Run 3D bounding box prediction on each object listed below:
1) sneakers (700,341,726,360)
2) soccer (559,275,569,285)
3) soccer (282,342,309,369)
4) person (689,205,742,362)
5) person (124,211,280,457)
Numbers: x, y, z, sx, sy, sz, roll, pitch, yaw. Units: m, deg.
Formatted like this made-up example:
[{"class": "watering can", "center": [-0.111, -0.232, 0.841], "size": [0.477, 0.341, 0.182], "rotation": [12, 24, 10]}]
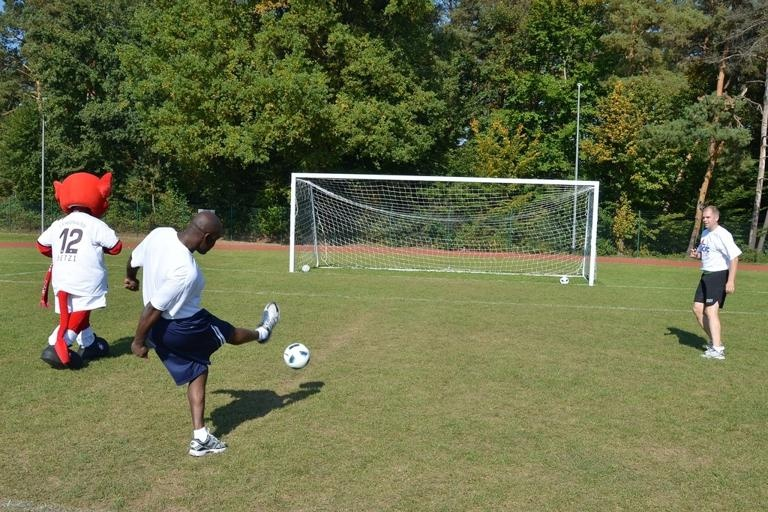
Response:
[{"class": "sneakers", "center": [5.798, 1.703, 11.956], "size": [0.218, 0.246, 0.566], "rotation": [-4, 2, -26]}, {"class": "soccer", "center": [5.661, 0.765, 21.056], "size": [0.238, 0.186, 0.399], "rotation": [1, 3, 12]}, {"class": "soccer", "center": [-1.301, 1.533, 10.057], "size": [0.345, 0.406, 0.369], "rotation": [1, 5, -1]}, {"class": "person", "center": [5.991, 0.438, 12.194], "size": [0.730, 2.673, 1.197], "rotation": [4, 6, 24]}, {"class": "person", "center": [-2.499, 0.987, 8.963], "size": [1.641, 3.160, 0.890], "rotation": [-1, 6, -20]}]
